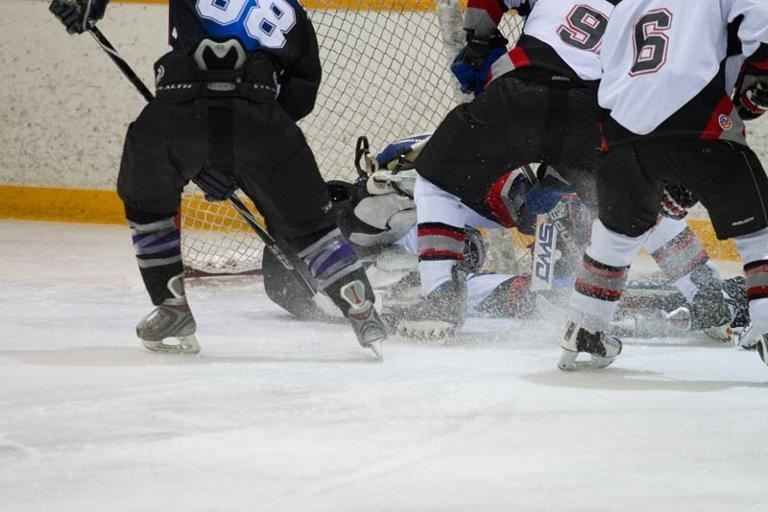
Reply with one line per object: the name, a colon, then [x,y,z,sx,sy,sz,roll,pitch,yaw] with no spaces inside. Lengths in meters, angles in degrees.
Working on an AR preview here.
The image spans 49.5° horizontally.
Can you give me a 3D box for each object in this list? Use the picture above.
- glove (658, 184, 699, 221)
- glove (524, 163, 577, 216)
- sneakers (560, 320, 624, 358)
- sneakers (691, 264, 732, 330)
glove: [1.033,-0.201,3.007,0.187,0.071,0.147,-6,27,8]
glove: [0.731,-0.273,3.584,0.245,0.165,0.152,-4,17,42]
sneakers: [0.805,0.293,3.028,0.191,0.121,0.062,16,27,-50]
sneakers: [1.396,0.178,3.593,0.168,0.245,0.104,-8,-24,8]
